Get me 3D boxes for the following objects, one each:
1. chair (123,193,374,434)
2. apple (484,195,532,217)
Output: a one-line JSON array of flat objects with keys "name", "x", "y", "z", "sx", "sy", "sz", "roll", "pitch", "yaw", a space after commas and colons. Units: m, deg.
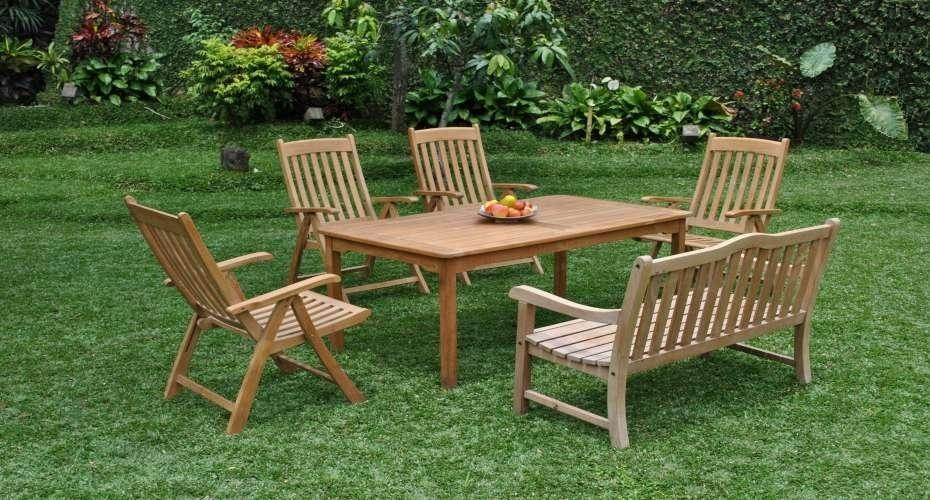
[{"name": "chair", "x": -1.735, "y": 0.353, "z": 7.311, "sx": 2.844, "sy": 2.262, "sz": 1.927, "roll": -11, "pitch": 19, "yaw": -40}, {"name": "apple", "x": 0.472, "y": -0.424, "z": 7.239, "sx": 0.353, "sy": 0.114, "sz": 0.320, "roll": 1, "pitch": 1, "yaw": 24}]
